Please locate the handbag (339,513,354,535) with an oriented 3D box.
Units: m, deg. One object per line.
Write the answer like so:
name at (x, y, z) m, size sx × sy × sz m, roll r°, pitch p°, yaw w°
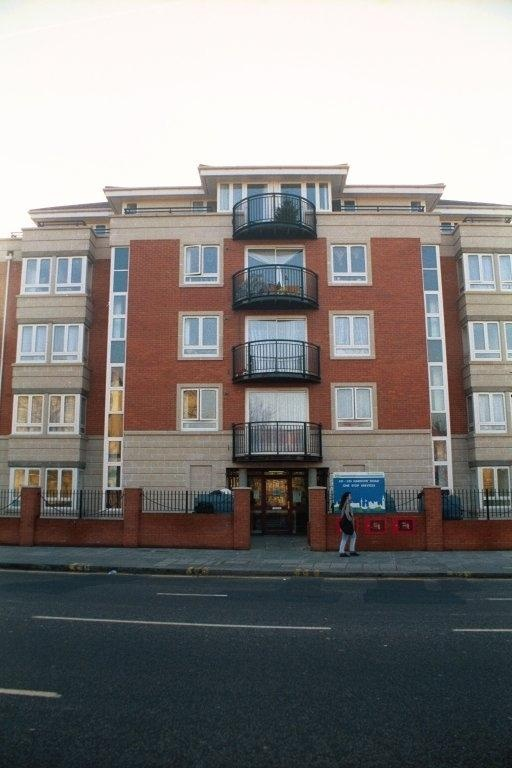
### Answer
handbag at (2.243, 3.493, 15.851) m, size 0.336 × 0.528 × 0.560 m, roll -1°, pitch -9°, yaw 5°
